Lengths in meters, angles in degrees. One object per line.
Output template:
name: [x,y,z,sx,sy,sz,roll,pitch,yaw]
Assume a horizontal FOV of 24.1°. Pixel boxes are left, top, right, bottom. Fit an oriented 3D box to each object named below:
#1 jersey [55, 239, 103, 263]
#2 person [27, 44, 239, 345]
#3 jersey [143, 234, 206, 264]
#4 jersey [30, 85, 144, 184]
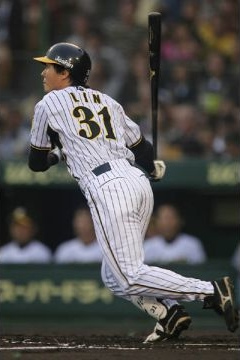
jersey: [-0.378,0.703,5.488,0.621,0.187,0.303,-1,3,21]
person: [-0.001,0.028,2.451,0.587,1.176,0.913,-18,25,-19]
jersey: [0.555,0.725,5.759,0.658,0.295,0.224,3,-19,-20]
jersey: [-0.124,-0.210,2.490,0.492,0.211,0.608,-2,12,13]
